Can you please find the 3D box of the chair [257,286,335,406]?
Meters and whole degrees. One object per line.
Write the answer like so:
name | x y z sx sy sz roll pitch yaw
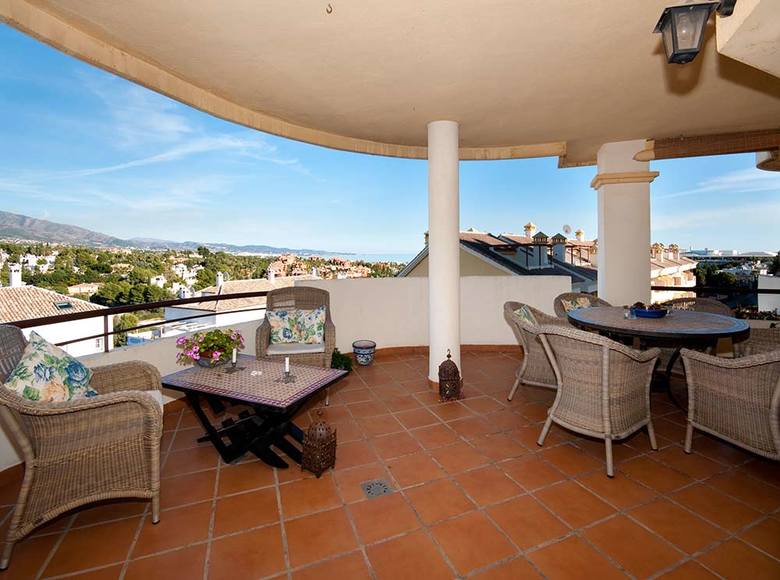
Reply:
chair | -1.153 0.509 6.078 1.263 1.364 1.310 0 -7 -6

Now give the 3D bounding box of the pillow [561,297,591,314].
pillow | 2.343 0.173 5.959 0.320 0.186 0.078 -4 -20 -14

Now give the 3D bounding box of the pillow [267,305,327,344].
pillow | -1.118 0.431 5.665 0.530 0.275 0.137 0 -19 -1

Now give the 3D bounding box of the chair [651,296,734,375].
chair | 3.572 0.549 5.938 1.012 1.071 0.946 1 -1 -6

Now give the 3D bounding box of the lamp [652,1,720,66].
lamp | 2.034 -1.768 3.264 0.367 0.351 0.196 0 6 25

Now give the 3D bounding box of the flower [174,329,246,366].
flower | -1.745 0.540 4.607 0.509 0.172 0.457 0 5 -17
